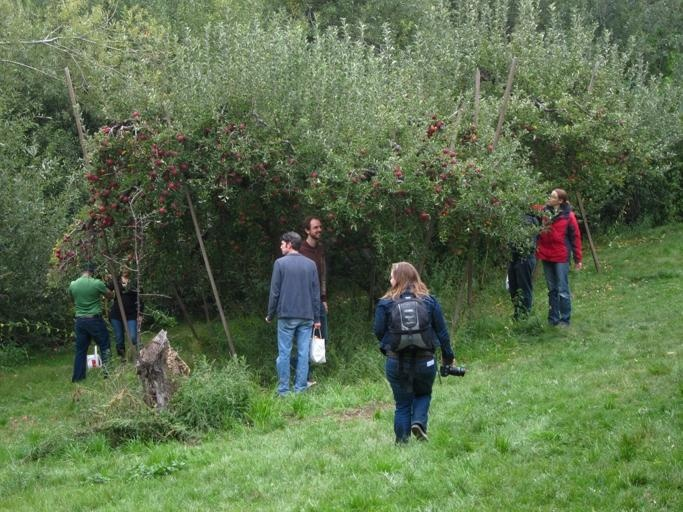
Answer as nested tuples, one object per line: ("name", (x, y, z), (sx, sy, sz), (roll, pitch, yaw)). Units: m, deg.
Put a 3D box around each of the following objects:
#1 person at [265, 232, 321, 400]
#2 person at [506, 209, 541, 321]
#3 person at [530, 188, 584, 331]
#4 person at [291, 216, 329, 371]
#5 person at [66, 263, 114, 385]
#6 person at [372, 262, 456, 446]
("person", (-0.883, 1.056, 15.455), (0.972, 2.970, 0.572), (-3, 2, -6))
("person", (3.813, 0.181, 17.499), (0.450, 2.142, 0.981), (9, -7, -20))
("person", (4.372, -0.029, 16.853), (0.814, 3.093, 0.939), (1, 1, 36))
("person", (-0.523, 0.496, 16.423), (0.911, 2.523, 0.487), (-3, 3, -24))
("person", (-5.392, 1.410, 17.763), (0.688, 2.525, 0.745), (-3, 4, -9))
("person", (1.164, 1.476, 12.972), (0.850, 2.781, 1.354), (0, 0, 8))
